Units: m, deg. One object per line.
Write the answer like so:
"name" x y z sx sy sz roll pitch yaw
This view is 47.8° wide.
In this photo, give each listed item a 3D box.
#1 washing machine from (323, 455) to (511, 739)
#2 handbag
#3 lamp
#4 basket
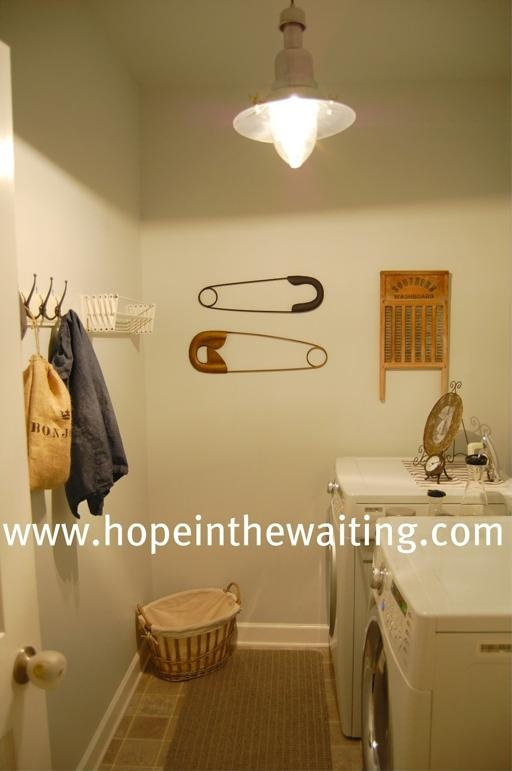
"washing machine" 0.452 0.538 2.184 0.629 0.982 0.937 0 5 2
"handbag" -0.487 0.087 1.337 0.127 0.314 0.117 -5 6 -41
"lamp" 0.099 -0.680 1.318 0.257 0.335 0.323 -3 5 -19
"basket" -0.267 0.998 2.379 0.281 0.272 0.385 -7 -13 42
